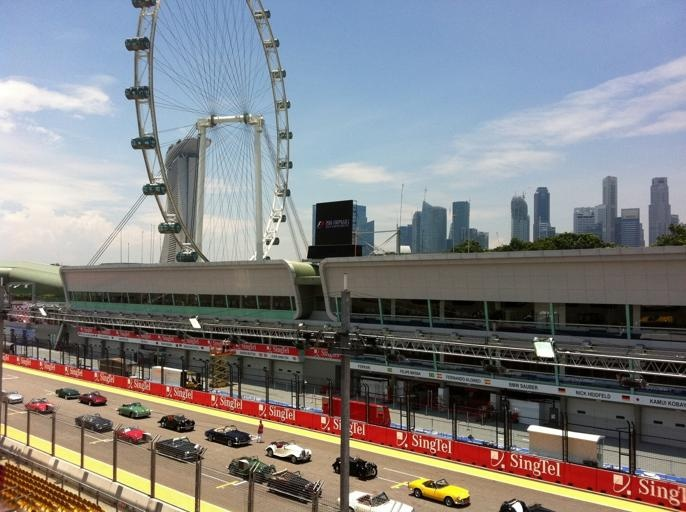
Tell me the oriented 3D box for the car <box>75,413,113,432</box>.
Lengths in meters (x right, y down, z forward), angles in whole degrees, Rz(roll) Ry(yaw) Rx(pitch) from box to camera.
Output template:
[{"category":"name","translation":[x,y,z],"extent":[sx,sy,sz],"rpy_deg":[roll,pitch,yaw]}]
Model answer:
[{"category":"car","translation":[-21.060,14.251,61.211],"extent":[2.586,1.488,1.922],"rpy_deg":[-3,-4,37]}]

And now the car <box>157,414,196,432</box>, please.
[{"category":"car","translation":[-14.585,14.505,62.481],"extent":[2.456,0.819,1.417],"rpy_deg":[1,-3,39]}]

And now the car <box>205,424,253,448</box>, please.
[{"category":"car","translation":[-9.500,14.876,59.597],"extent":[3.597,1.163,1.671],"rpy_deg":[3,0,35]}]

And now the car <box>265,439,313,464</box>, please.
[{"category":"car","translation":[-4.436,15.262,56.159],"extent":[3.079,0.895,1.515],"rpy_deg":[2,3,38]}]

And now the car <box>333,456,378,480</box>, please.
[{"category":"car","translation":[0.641,16.080,53.689],"extent":[3.586,1.421,2.047],"rpy_deg":[0,-1,33]}]

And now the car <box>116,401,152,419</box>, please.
[{"category":"car","translation":[-19.479,14.276,66.316],"extent":[2.440,0.813,1.381],"rpy_deg":[2,0,35]}]
